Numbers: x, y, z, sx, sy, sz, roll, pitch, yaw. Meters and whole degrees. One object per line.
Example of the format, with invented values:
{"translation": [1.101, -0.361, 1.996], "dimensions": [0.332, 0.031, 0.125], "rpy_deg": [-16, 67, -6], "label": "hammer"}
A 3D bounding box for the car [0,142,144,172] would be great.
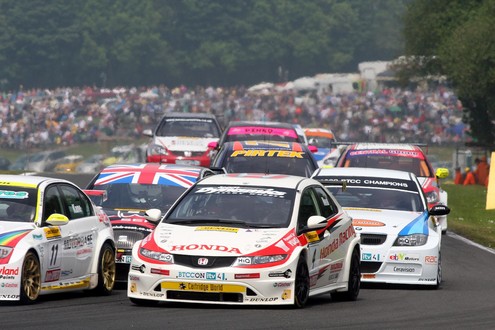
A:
{"translation": [-11.169, -0.663, 61.496], "dimensions": [9.555, 1.359, 2.807], "rpy_deg": [0, 14, 5], "label": "car"}

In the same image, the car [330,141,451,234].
{"translation": [3.658, 0.614, 24.599], "dimensions": [3.023, 1.942, 5.712], "rpy_deg": [0, -3, 10], "label": "car"}
